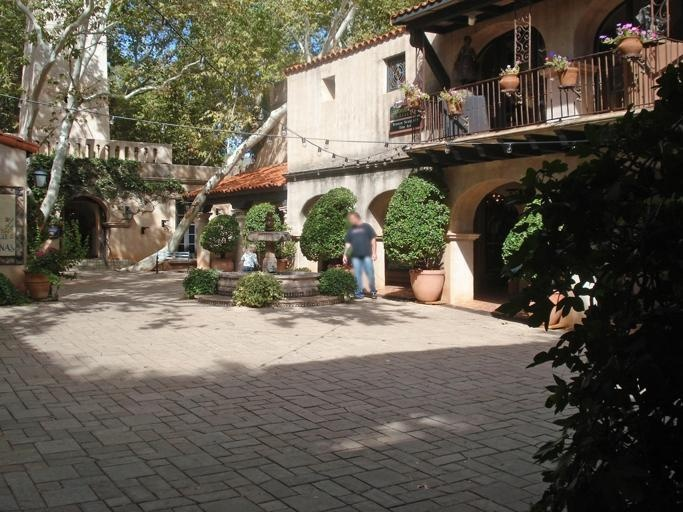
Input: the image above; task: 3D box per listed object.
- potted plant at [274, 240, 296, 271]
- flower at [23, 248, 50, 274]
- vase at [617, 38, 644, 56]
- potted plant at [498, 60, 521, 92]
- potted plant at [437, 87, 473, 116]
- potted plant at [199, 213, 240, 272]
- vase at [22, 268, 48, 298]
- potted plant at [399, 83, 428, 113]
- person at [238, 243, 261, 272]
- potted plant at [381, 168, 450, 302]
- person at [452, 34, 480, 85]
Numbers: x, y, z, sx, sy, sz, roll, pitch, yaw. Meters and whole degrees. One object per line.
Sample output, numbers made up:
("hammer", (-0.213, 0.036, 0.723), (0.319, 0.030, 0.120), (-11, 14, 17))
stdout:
("potted plant", (-2.008, -0.017, 19.560), (0.697, 1.098, 0.433), (0, 2, -5))
("flower", (-8.088, 0.193, 14.403), (0.687, 0.771, 0.728), (-3, 2, -18))
("vase", (5.016, -3.624, 9.378), (0.339, 0.224, 0.335), (2, -5, -34))
("potted plant", (3.579, -3.846, 11.427), (0.439, 0.717, 0.375), (1, -3, -5))
("potted plant", (2.680, -3.641, 12.652), (0.633, 0.756, 0.882), (1, 2, 12))
("potted plant", (-5.172, -0.583, 23.241), (1.538, 2.359, 2.452), (0, 2, -12))
("vase", (-7.833, 0.737, 13.916), (0.753, 0.737, 0.723), (-2, -6, -9))
("potted plant", (1.929, -4.165, 14.043), (0.695, 0.838, 1.432), (1, 2, 9))
("person", (-2.825, 0.090, 16.613), (0.438, 0.829, 1.351), (0, 2, -14))
("potted plant", (2.008, -0.469, 14.200), (1.638, 3.458, 0.833), (1, 2, 10))
("person", (3.156, -4.971, 13.662), (0.577, 1.211, 0.514), (1, 2, 11))
